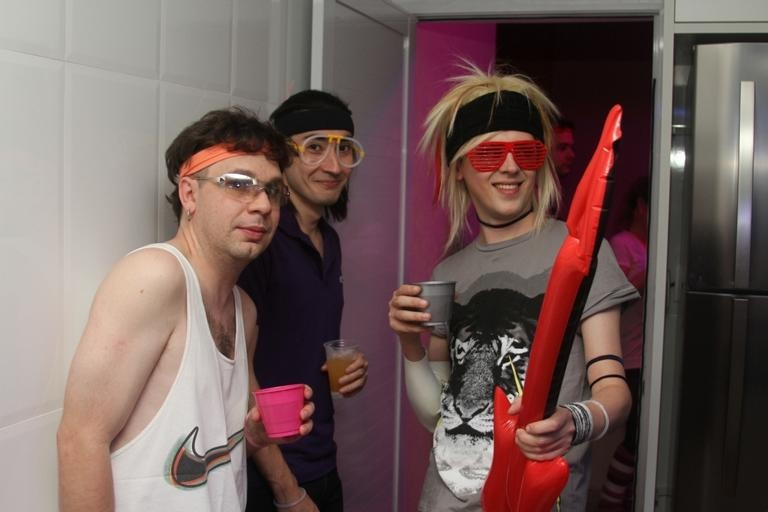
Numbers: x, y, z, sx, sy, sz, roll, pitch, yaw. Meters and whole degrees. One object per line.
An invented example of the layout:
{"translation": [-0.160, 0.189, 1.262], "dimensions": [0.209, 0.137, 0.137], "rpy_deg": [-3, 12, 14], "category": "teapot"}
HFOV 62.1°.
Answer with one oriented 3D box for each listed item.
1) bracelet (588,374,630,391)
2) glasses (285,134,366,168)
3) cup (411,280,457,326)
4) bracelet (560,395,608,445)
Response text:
{"translation": [0.815, 0.443, 2.280], "dimensions": [0.139, 0.055, 0.065], "rpy_deg": [2, 1, -9], "category": "bracelet"}
{"translation": [-0.265, -0.445, 2.741], "dimensions": [0.213, 0.102, 0.257], "rpy_deg": [1, -2, -26], "category": "glasses"}
{"translation": [0.202, 0.181, 2.467], "dimensions": [0.144, 0.164, 0.155], "rpy_deg": [-1, -3, 0], "category": "cup"}
{"translation": [0.656, 0.542, 2.113], "dimensions": [0.155, 0.138, 0.080], "rpy_deg": [8, -10, -27], "category": "bracelet"}
